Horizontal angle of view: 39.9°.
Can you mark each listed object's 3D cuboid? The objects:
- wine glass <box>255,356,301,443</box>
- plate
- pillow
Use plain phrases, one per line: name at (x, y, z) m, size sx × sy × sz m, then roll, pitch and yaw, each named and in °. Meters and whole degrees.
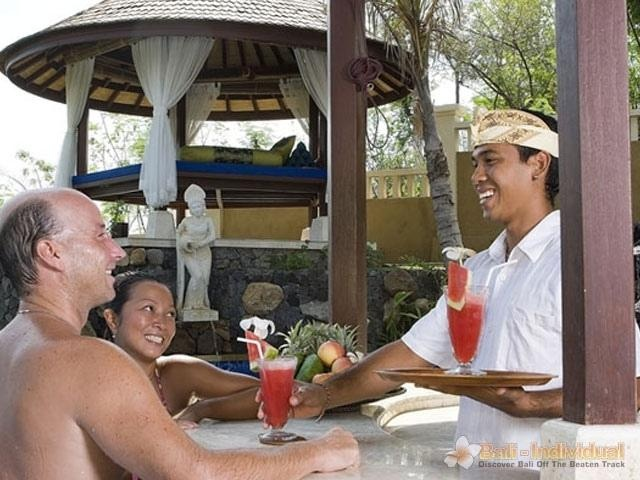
wine glass at (-0.149, 0.551, 3.061) m, size 0.140 × 0.301 × 0.153 m, roll 0°, pitch -4°, yaw -14°
plate at (0.463, 0.445, 2.849) m, size 0.547 × 0.090 × 0.324 m, roll -6°, pitch -9°, yaw 4°
pillow at (-0.868, -1.077, 10.989) m, size 1.901 × 0.420 × 0.650 m, roll 2°, pitch 5°, yaw 18°
